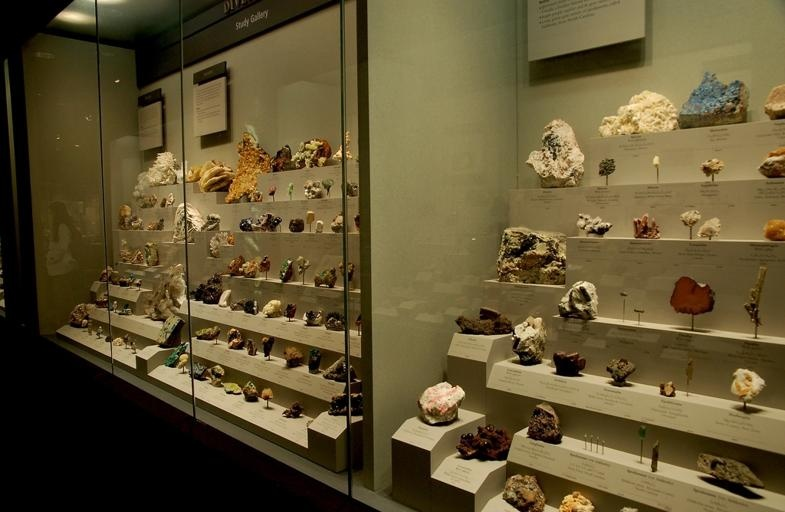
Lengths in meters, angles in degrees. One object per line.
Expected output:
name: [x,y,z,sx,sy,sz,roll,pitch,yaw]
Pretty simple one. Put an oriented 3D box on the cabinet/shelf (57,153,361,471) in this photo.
cabinet/shelf: [-1.473,0.499,4.541,2.463,1.604,0.902,7,6,30]
